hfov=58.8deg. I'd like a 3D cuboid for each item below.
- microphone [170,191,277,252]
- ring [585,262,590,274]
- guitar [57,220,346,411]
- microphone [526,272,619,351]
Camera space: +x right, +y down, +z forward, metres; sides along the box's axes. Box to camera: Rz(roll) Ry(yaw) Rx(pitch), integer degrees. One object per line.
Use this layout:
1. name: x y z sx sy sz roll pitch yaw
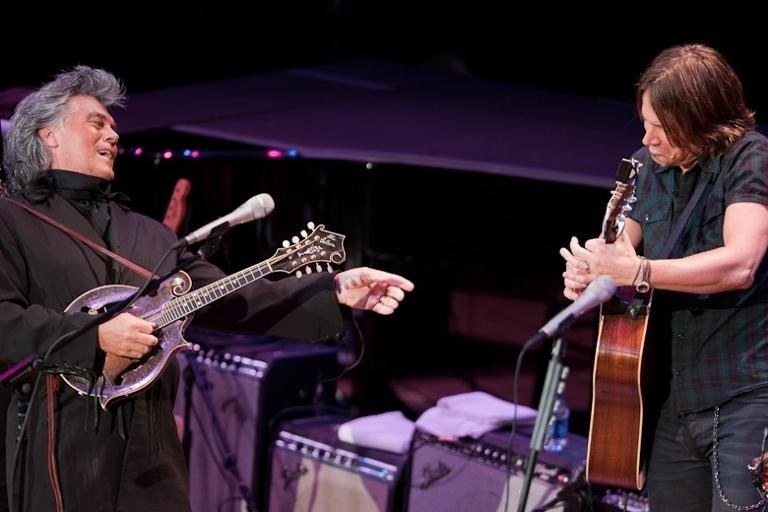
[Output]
1. microphone: -1.066 -0.234 4.599 0.830 0.196 0.209 -24 35 -17
2. ring: 0.920 0.049 3.095 0.019 0.047 0.039 -1 6 -2
3. guitar: -0.973 0.355 3.617 1.450 0.505 0.222 -23 -16 -6
4. microphone: 0.747 0.220 2.702 0.216 0.269 0.334 9 3 35
